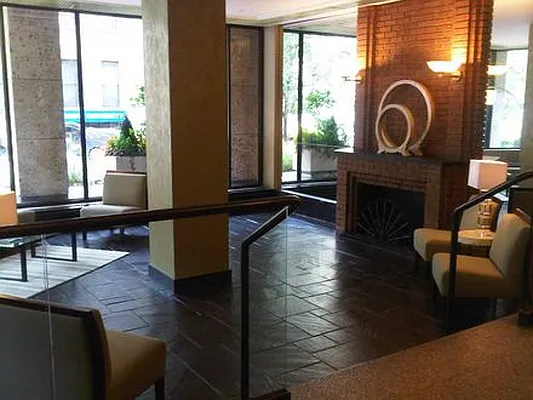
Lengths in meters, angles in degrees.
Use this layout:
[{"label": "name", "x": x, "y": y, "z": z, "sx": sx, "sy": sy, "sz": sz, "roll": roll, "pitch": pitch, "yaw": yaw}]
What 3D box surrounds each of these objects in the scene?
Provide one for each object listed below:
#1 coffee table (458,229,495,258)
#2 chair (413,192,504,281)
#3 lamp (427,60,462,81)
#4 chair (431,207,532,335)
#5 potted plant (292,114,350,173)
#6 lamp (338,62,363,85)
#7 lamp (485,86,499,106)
[{"label": "coffee table", "x": 2.298, "y": 0.478, "z": 4.693, "sx": 0.357, "sy": 0.159, "sz": 0.341, "roll": 0, "pitch": 13, "yaw": 3}, {"label": "chair", "x": 2.300, "y": 0.404, "z": 5.340, "sx": 1.000, "sy": 1.183, "sz": 0.900, "roll": 2, "pitch": 7, "yaw": -3}, {"label": "lamp", "x": 2.431, "y": -1.811, "z": 5.854, "sx": 0.440, "sy": 0.289, "sz": 0.416, "roll": -4, "pitch": 13, "yaw": -38}, {"label": "chair", "x": 1.883, "y": 0.635, "z": 4.311, "sx": 1.082, "sy": 0.967, "sz": 0.967, "roll": 1, "pitch": 6, "yaw": 8}, {"label": "potted plant", "x": 1.226, "y": -1.068, "z": 8.275, "sx": 0.976, "sy": 1.056, "sz": 1.089, "roll": -4, "pitch": 12, "yaw": -28}, {"label": "lamp", "x": 1.441, "y": -2.173, "z": 7.241, "sx": 0.335, "sy": 0.415, "sz": 0.629, "roll": 4, "pitch": 10, "yaw": 0}, {"label": "lamp", "x": 3.180, "y": -1.486, "z": 6.013, "sx": 0.102, "sy": 0.262, "sz": 0.415, "roll": 12, "pitch": 13, "yaw": 34}]
